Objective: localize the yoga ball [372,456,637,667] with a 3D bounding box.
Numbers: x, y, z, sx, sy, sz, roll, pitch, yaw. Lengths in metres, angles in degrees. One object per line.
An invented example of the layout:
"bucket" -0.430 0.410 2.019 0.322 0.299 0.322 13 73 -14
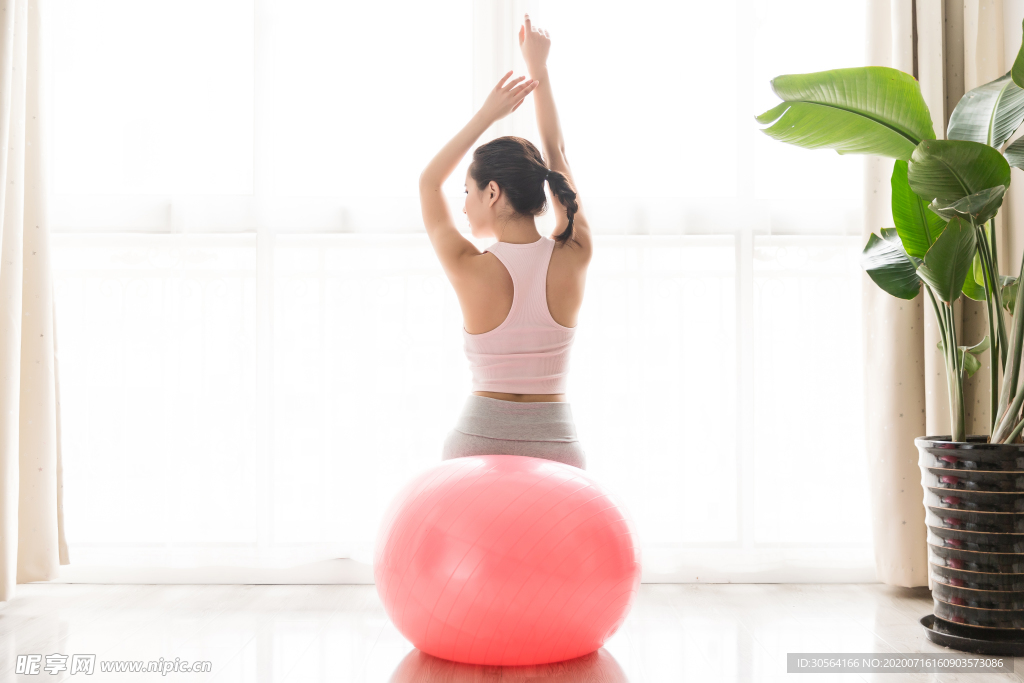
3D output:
"yoga ball" -0.006 0.748 3.597 1.009 0.704 0.826 -5 -8 11
